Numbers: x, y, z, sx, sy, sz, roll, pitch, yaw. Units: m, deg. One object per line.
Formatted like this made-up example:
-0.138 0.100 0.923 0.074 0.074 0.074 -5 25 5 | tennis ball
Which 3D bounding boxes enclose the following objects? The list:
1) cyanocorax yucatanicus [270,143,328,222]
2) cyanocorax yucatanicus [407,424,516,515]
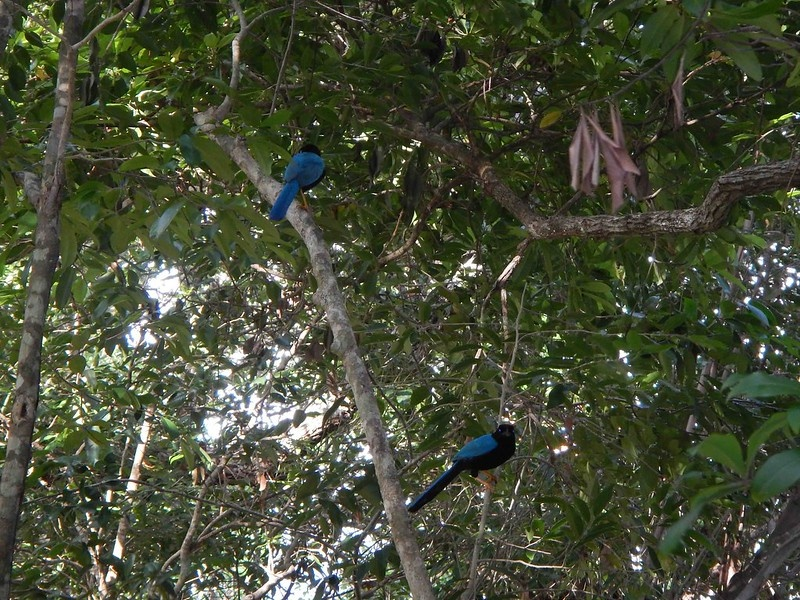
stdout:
-0.654 -0.800 6.212 0.220 0.644 0.391 14 -59 17 | cyanocorax yucatanicus
0.379 0.982 5.613 0.740 0.389 0.225 -14 -30 -5 | cyanocorax yucatanicus
